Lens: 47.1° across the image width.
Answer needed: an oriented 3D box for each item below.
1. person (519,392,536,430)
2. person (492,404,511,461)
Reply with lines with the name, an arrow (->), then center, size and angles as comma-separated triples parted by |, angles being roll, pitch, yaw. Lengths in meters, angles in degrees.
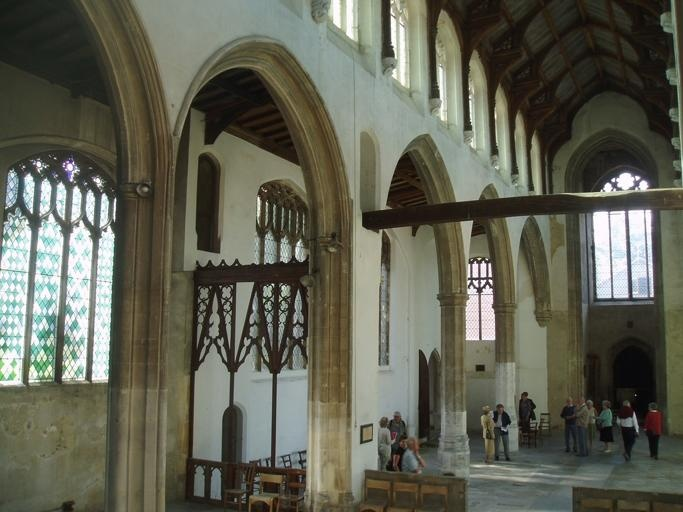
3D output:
person -> 5.694, 4.750, 23.939 | 0.466, 1.130, 1.183 | -4, -11, 11
person -> 4.333, 4.739, 21.072 | 0.415, 1.485, 1.643 | -4, -11, 10
